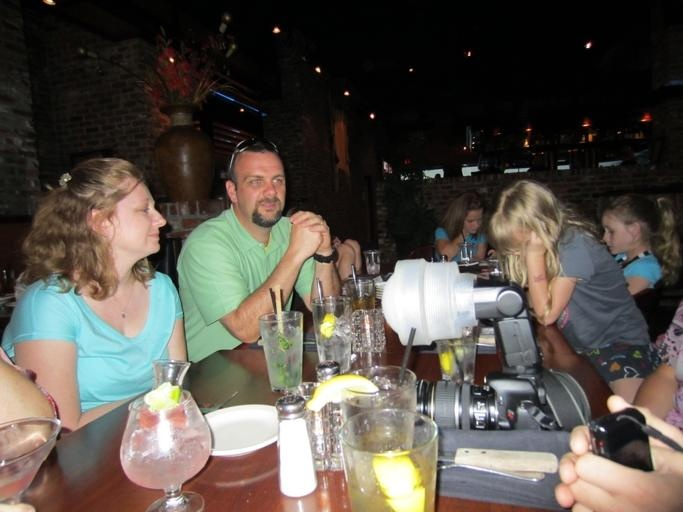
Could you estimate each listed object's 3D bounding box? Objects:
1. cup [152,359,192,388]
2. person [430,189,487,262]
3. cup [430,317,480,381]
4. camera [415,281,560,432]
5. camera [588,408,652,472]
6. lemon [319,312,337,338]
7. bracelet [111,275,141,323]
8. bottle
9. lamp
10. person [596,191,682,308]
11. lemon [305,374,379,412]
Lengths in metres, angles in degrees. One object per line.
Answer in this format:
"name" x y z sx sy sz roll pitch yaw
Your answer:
"cup" -0.452 0.308 1.355 0.080 0.057 0.079 2 -11 0
"person" 1.098 -0.274 4.732 0.467 0.633 0.870 -3 -2 15
"cup" 0.354 0.315 1.656 0.171 0.200 0.151 0 -8 2
"camera" 0.425 0.294 1.527 0.394 0.377 0.377 -6 -9 19
"camera" 0.666 0.452 1.202 0.116 0.180 0.065 -20 11 -9
"lemon" -0.043 0.225 1.650 0.051 0.068 0.124 -3 -2 3
"bracelet" -0.830 0.174 1.971 0.037 0.151 0.119 -12 -28 37
"bottle" -0.088 0.435 1.295 0.140 0.279 0.180 -3 -1 24
"lamp" 4.386 -2.260 8.955 1.281 0.301 1.281 0 1 28
"person" 1.774 -0.056 3.267 0.642 0.804 0.558 -3 -2 36
"lemon" -0.009 0.324 1.251 0.174 0.089 0.034 -9 -8 12
